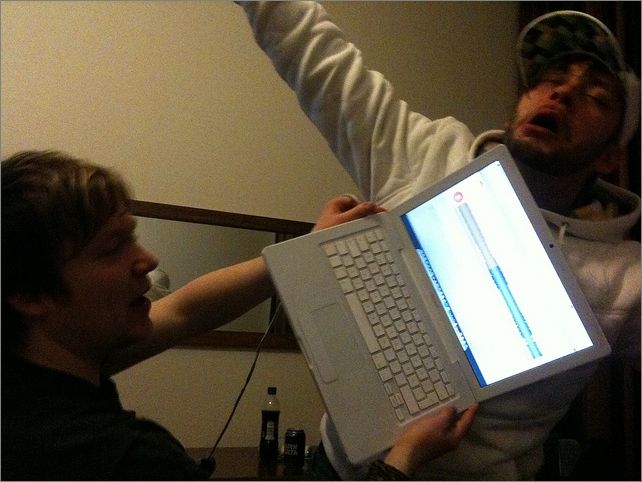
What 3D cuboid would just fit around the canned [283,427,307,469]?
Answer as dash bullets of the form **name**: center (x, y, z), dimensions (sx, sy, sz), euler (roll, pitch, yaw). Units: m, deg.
- **canned**: center (-0.098, 0.761, 2.175), dimensions (0.105, 0.185, 0.102), euler (4, -22, -7)
